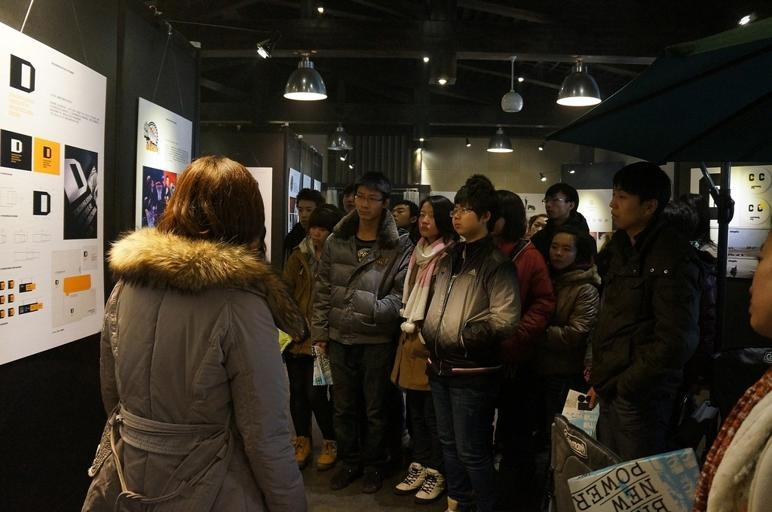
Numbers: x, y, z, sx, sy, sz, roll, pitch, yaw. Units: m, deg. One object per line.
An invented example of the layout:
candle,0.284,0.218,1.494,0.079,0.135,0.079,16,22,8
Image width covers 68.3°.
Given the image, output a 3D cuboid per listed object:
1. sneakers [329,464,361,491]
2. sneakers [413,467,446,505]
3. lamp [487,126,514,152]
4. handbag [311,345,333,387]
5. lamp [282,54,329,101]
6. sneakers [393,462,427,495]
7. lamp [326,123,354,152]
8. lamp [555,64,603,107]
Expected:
sneakers,-0.323,1.570,4.111,0.102,0.115,0.276,1,0,40
sneakers,0.300,1.576,3.952,0.133,0.158,0.374,-1,-2,31
lamp,2.015,-2.095,10.201,0.352,0.457,0.742,4,5,11
handbag,-0.538,0.807,4.180,0.187,0.275,0.199,-12,-18,3
lamp,-0.899,-1.977,6.219,0.452,0.476,0.461,-5,9,-41
sneakers,0.169,1.550,4.012,0.115,0.129,0.276,6,7,35
lamp,-0.874,-2.119,10.083,0.352,0.482,0.894,2,5,-6
lamp,2.070,-1.900,6.169,0.393,0.435,0.402,1,3,-23
